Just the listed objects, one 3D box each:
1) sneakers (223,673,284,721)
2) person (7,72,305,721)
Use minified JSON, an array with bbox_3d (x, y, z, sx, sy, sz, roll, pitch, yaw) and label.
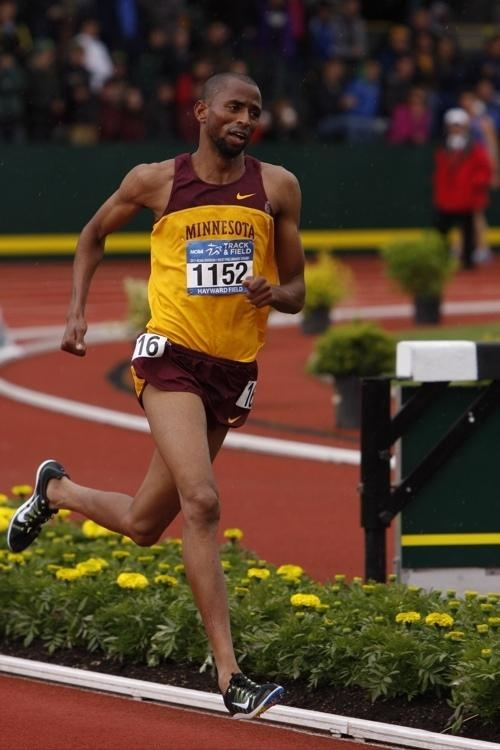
[{"bbox_3d":[0.000,0.875,2.538,0.076,0.104,0.205,-44,10,-26],"label":"sneakers"},{"bbox_3d":[-0.197,-0.006,2.824,0.770,1.809,0.944,-4,11,4],"label":"person"}]
